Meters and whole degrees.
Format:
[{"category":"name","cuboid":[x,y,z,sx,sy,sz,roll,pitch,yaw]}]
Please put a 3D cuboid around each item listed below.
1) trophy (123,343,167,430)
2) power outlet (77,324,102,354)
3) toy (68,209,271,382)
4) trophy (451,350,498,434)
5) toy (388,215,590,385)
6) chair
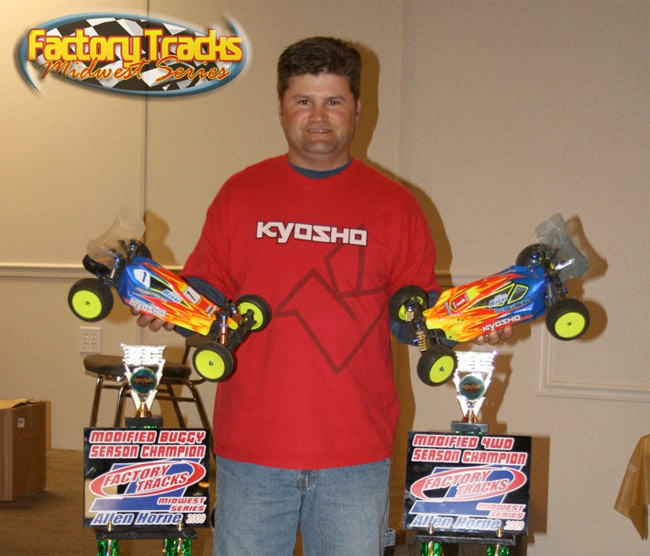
[{"category":"trophy","cuboid":[-0.514,0.318,1.748,0.123,0.238,0.118,-1,12,-4]},{"category":"power outlet","cuboid":[-1.316,0.343,3.411,0.195,0.201,0.022,0,4,9]},{"category":"toy","cuboid":[-0.361,0.064,1.539,0.553,0.283,0.252,27,-35,-1]},{"category":"trophy","cuboid":[0.427,0.336,1.756,0.163,0.228,0.078,-5,-14,34]},{"category":"toy","cuboid":[0.413,0.054,1.560,0.472,0.271,0.187,-24,-45,3]},{"category":"chair","cuboid":[-0.839,0.526,3.034,0.620,0.772,0.587,5,-3,-29]}]
